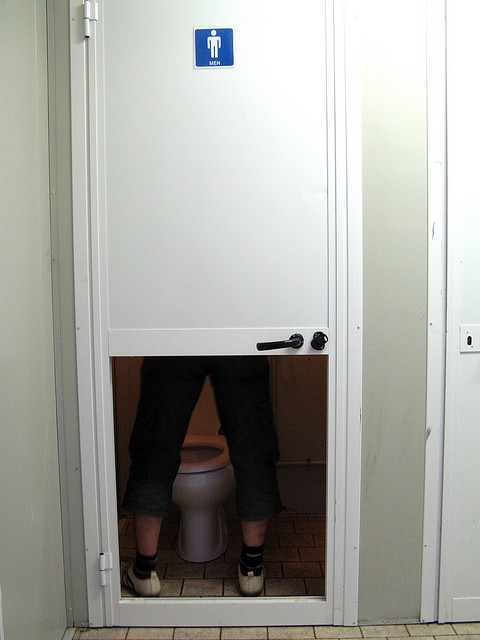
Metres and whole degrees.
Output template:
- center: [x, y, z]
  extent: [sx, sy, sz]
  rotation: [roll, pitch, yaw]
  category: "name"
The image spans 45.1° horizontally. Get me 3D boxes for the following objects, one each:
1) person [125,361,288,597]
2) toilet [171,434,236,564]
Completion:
- center: [-0.108, 0.534, 1.879]
  extent: [0.389, 1.110, 0.260]
  rotation: [1, 21, 1]
  category: "person"
- center: [-0.137, 0.627, 2.049]
  extent: [0.156, 0.400, 0.291]
  rotation: [2, 13, 6]
  category: "toilet"
